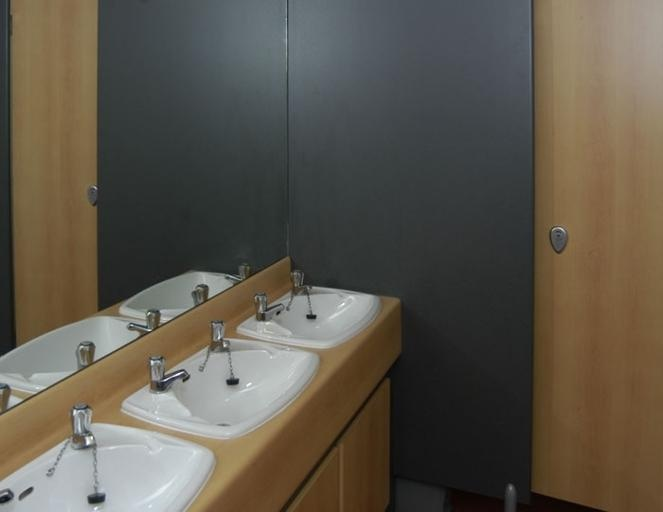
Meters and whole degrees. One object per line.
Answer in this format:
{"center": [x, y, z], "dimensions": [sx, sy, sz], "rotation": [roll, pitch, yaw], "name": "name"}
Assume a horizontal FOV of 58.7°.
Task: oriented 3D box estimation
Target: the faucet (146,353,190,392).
{"center": [-0.537, 0.361, 1.947], "dimensions": [0.134, 0.152, 0.082], "rotation": [-5, 16, -16], "name": "faucet"}

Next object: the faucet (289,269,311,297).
{"center": [-0.155, 0.136, 2.823], "dimensions": [0.106, 0.143, 0.077], "rotation": [3, 4, 13], "name": "faucet"}

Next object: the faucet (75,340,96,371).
{"center": [-0.778, 0.306, 1.855], "dimensions": [0.052, 0.106, 0.063], "rotation": [0, -3, 41], "name": "faucet"}

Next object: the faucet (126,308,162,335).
{"center": [-0.658, 0.239, 2.063], "dimensions": [0.042, 0.131, 0.104], "rotation": [-1, -4, 43], "name": "faucet"}

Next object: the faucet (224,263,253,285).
{"center": [-0.414, 0.079, 2.569], "dimensions": [0.066, 0.098, 0.235], "rotation": [3, -1, 15], "name": "faucet"}

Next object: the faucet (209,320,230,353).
{"center": [-0.411, 0.295, 2.186], "dimensions": [0.082, 0.107, 0.084], "rotation": [5, 5, 27], "name": "faucet"}

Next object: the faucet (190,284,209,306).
{"center": [-0.519, 0.161, 2.329], "dimensions": [0.032, 0.145, 0.077], "rotation": [1, 6, 21], "name": "faucet"}
